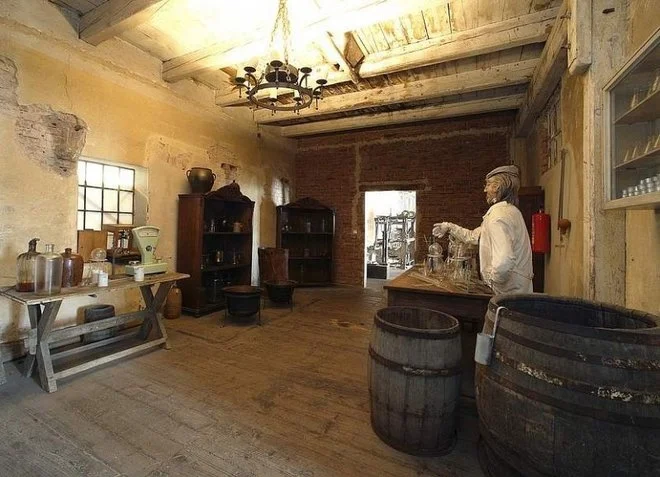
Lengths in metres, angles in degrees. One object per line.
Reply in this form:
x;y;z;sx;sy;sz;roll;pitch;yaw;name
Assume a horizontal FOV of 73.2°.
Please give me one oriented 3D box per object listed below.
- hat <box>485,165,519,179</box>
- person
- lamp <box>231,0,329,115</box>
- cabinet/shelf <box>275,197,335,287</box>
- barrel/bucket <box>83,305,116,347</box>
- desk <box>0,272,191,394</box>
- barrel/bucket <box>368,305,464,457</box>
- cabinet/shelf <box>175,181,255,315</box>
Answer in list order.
1.616;-0.643;4.214;0.286;0.109;0.264;2;4;42;hat
1.577;-0.123;4.180;0.575;1.140;0.936;2;6;6;person
-0.599;-2.206;5.264;1.008;1.365;0.995;6;11;24;lamp
-0.453;0.058;8.618;1.163;1.719;0.707;0;7;-9;cabinet/shelf
-2.577;0.921;4.990;0.453;0.456;0.441;0;2;0;barrel/bucket
-2.489;0.876;4.715;1.078;0.924;1.532;6;7;34;desk
0.638;1.150;3.837;0.953;1.025;1.063;1;2;3;barrel/bucket
-1.691;0.086;6.623;0.585;1.856;1.245;5;7;26;cabinet/shelf
